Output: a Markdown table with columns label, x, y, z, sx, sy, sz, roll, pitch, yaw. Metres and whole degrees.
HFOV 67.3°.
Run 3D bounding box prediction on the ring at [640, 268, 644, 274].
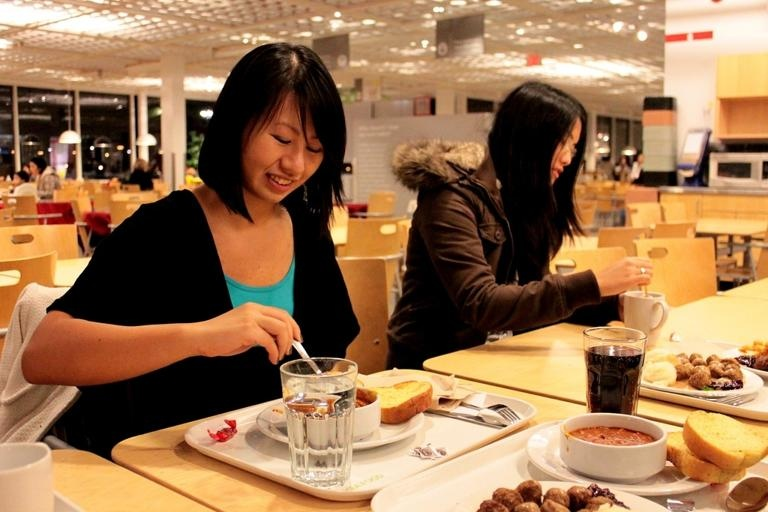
| label | x | y | z | sx | sy | sz | roll | pitch | yaw |
| --- | --- | --- | --- | --- | --- | --- | --- | --- | --- |
| ring | 0.774 | 0.045 | 1.726 | 0.016 | 0.014 | 0.004 | 0 | -12 | -17 |

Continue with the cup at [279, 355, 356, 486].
| label | x | y | z | sx | sy | sz | roll | pitch | yaw |
| --- | --- | --- | --- | --- | --- | --- | --- | --- | --- |
| cup | -0.104 | 0.278 | 1.005 | 0.108 | 0.222 | 0.108 | -3 | 10 | 0 |

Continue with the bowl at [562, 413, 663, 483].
| label | x | y | z | sx | sy | sz | roll | pitch | yaw |
| --- | --- | --- | --- | --- | --- | --- | --- | --- | --- |
| bowl | 0.395 | 0.312 | 1.046 | 0.211 | 0.089 | 0.164 | 3 | 4 | 15 |

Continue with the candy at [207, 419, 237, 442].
| label | x | y | z | sx | sy | sz | roll | pitch | yaw |
| --- | --- | --- | --- | --- | --- | --- | --- | --- | --- |
| candy | -0.315 | 0.338 | 1.131 | 0.040 | 0.018 | 0.040 | 10 | 29 | 42 |

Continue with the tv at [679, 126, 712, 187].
| label | x | y | z | sx | sy | sz | roll | pitch | yaw |
| --- | --- | --- | --- | --- | --- | --- | --- | --- | --- |
| tv | 4.087 | -1.313 | 7.619 | 0.326 | 0.732 | 0.380 | 4 | 13 | 26 |

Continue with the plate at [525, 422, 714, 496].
| label | x | y | z | sx | sy | sz | roll | pitch | yaw |
| --- | --- | --- | --- | --- | --- | --- | --- | --- | --- |
| plate | 0.346 | 0.329 | 1.040 | 0.349 | 0.049 | 0.400 | 0 | 3 | 3 |

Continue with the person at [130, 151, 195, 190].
| label | x | y | z | sx | sy | sz | roll | pitch | yaw |
| --- | --- | --- | --- | --- | --- | --- | --- | --- | --- |
| person | -5.350 | -1.826 | 12.964 | 1.332 | 0.901 | 0.929 | -3 | 13 | 17 |

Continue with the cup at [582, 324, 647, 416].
| label | x | y | z | sx | sy | sz | roll | pitch | yaw |
| --- | --- | --- | --- | --- | --- | --- | --- | --- | --- |
| cup | 0.467 | 0.218 | 1.187 | 0.117 | 0.181 | 0.110 | -1 | -1 | 0 |

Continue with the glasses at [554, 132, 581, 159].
| label | x | y | z | sx | sy | sz | roll | pitch | yaw |
| --- | --- | --- | --- | --- | --- | --- | --- | --- | --- |
| glasses | 0.651 | -0.397 | 2.050 | 0.070 | 0.085 | 0.078 | 21 | 0 | -6 |

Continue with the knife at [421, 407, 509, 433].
| label | x | y | z | sx | sy | sz | roll | pitch | yaw |
| --- | --- | --- | --- | --- | --- | --- | --- | --- | --- |
| knife | 0.196 | 0.329 | 1.229 | 0.186 | 0.024 | 0.094 | 1 | 7 | 28 |

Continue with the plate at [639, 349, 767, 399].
| label | x | y | z | sx | sy | sz | roll | pitch | yaw |
| --- | --- | --- | --- | --- | --- | --- | --- | --- | --- |
| plate | 0.759 | 0.270 | 1.368 | 0.240 | 0.071 | 0.258 | 2 | 7 | 31 |
